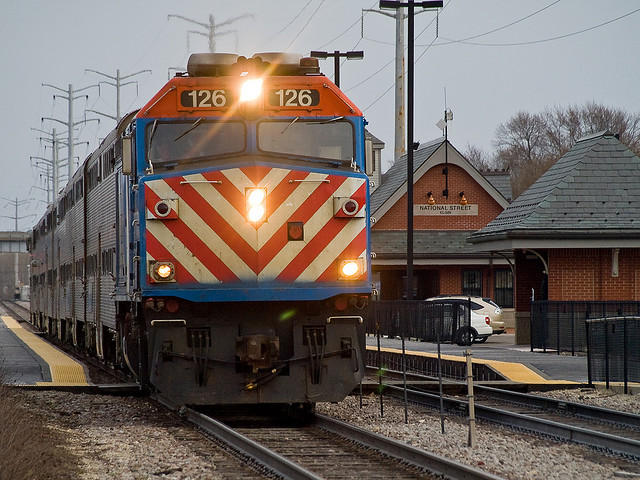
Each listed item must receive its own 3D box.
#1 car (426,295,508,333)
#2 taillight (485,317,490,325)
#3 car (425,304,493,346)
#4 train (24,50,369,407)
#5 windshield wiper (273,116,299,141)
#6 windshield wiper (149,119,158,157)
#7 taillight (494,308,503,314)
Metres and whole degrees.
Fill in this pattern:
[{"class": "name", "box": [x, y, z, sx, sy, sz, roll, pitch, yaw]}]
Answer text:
[{"class": "car", "box": [5.886, 3.151, 31.627, 3.603, 1.464, 1.793, 1, -1, 1]}, {"class": "taillight", "box": [6.424, 3.065, 30.900, 0.159, 0.252, 0.086, 8, -8, -20]}, {"class": "car", "box": [4.135, 2.867, 27.978, 3.827, 1.574, 1.812, 0, -3, 13]}, {"class": "train", "box": [-3.151, 0.228, 16.356, 3.247, 5.687, 11.342, 3, -7, -25]}, {"class": "windshield wiper", "box": [-0.501, -1.690, 12.365, 0.064, 0.604, 0.031, 42, -1, 28]}, {"class": "windshield wiper", "box": [-2.523, -1.563, 12.123, 0.067, 0.513, 0.033, 4, -2, 11]}, {"class": "taillight", "box": [7.110, 2.811, 32.196, 0.238, 0.113, 0.372, 1, 2, 4]}]
